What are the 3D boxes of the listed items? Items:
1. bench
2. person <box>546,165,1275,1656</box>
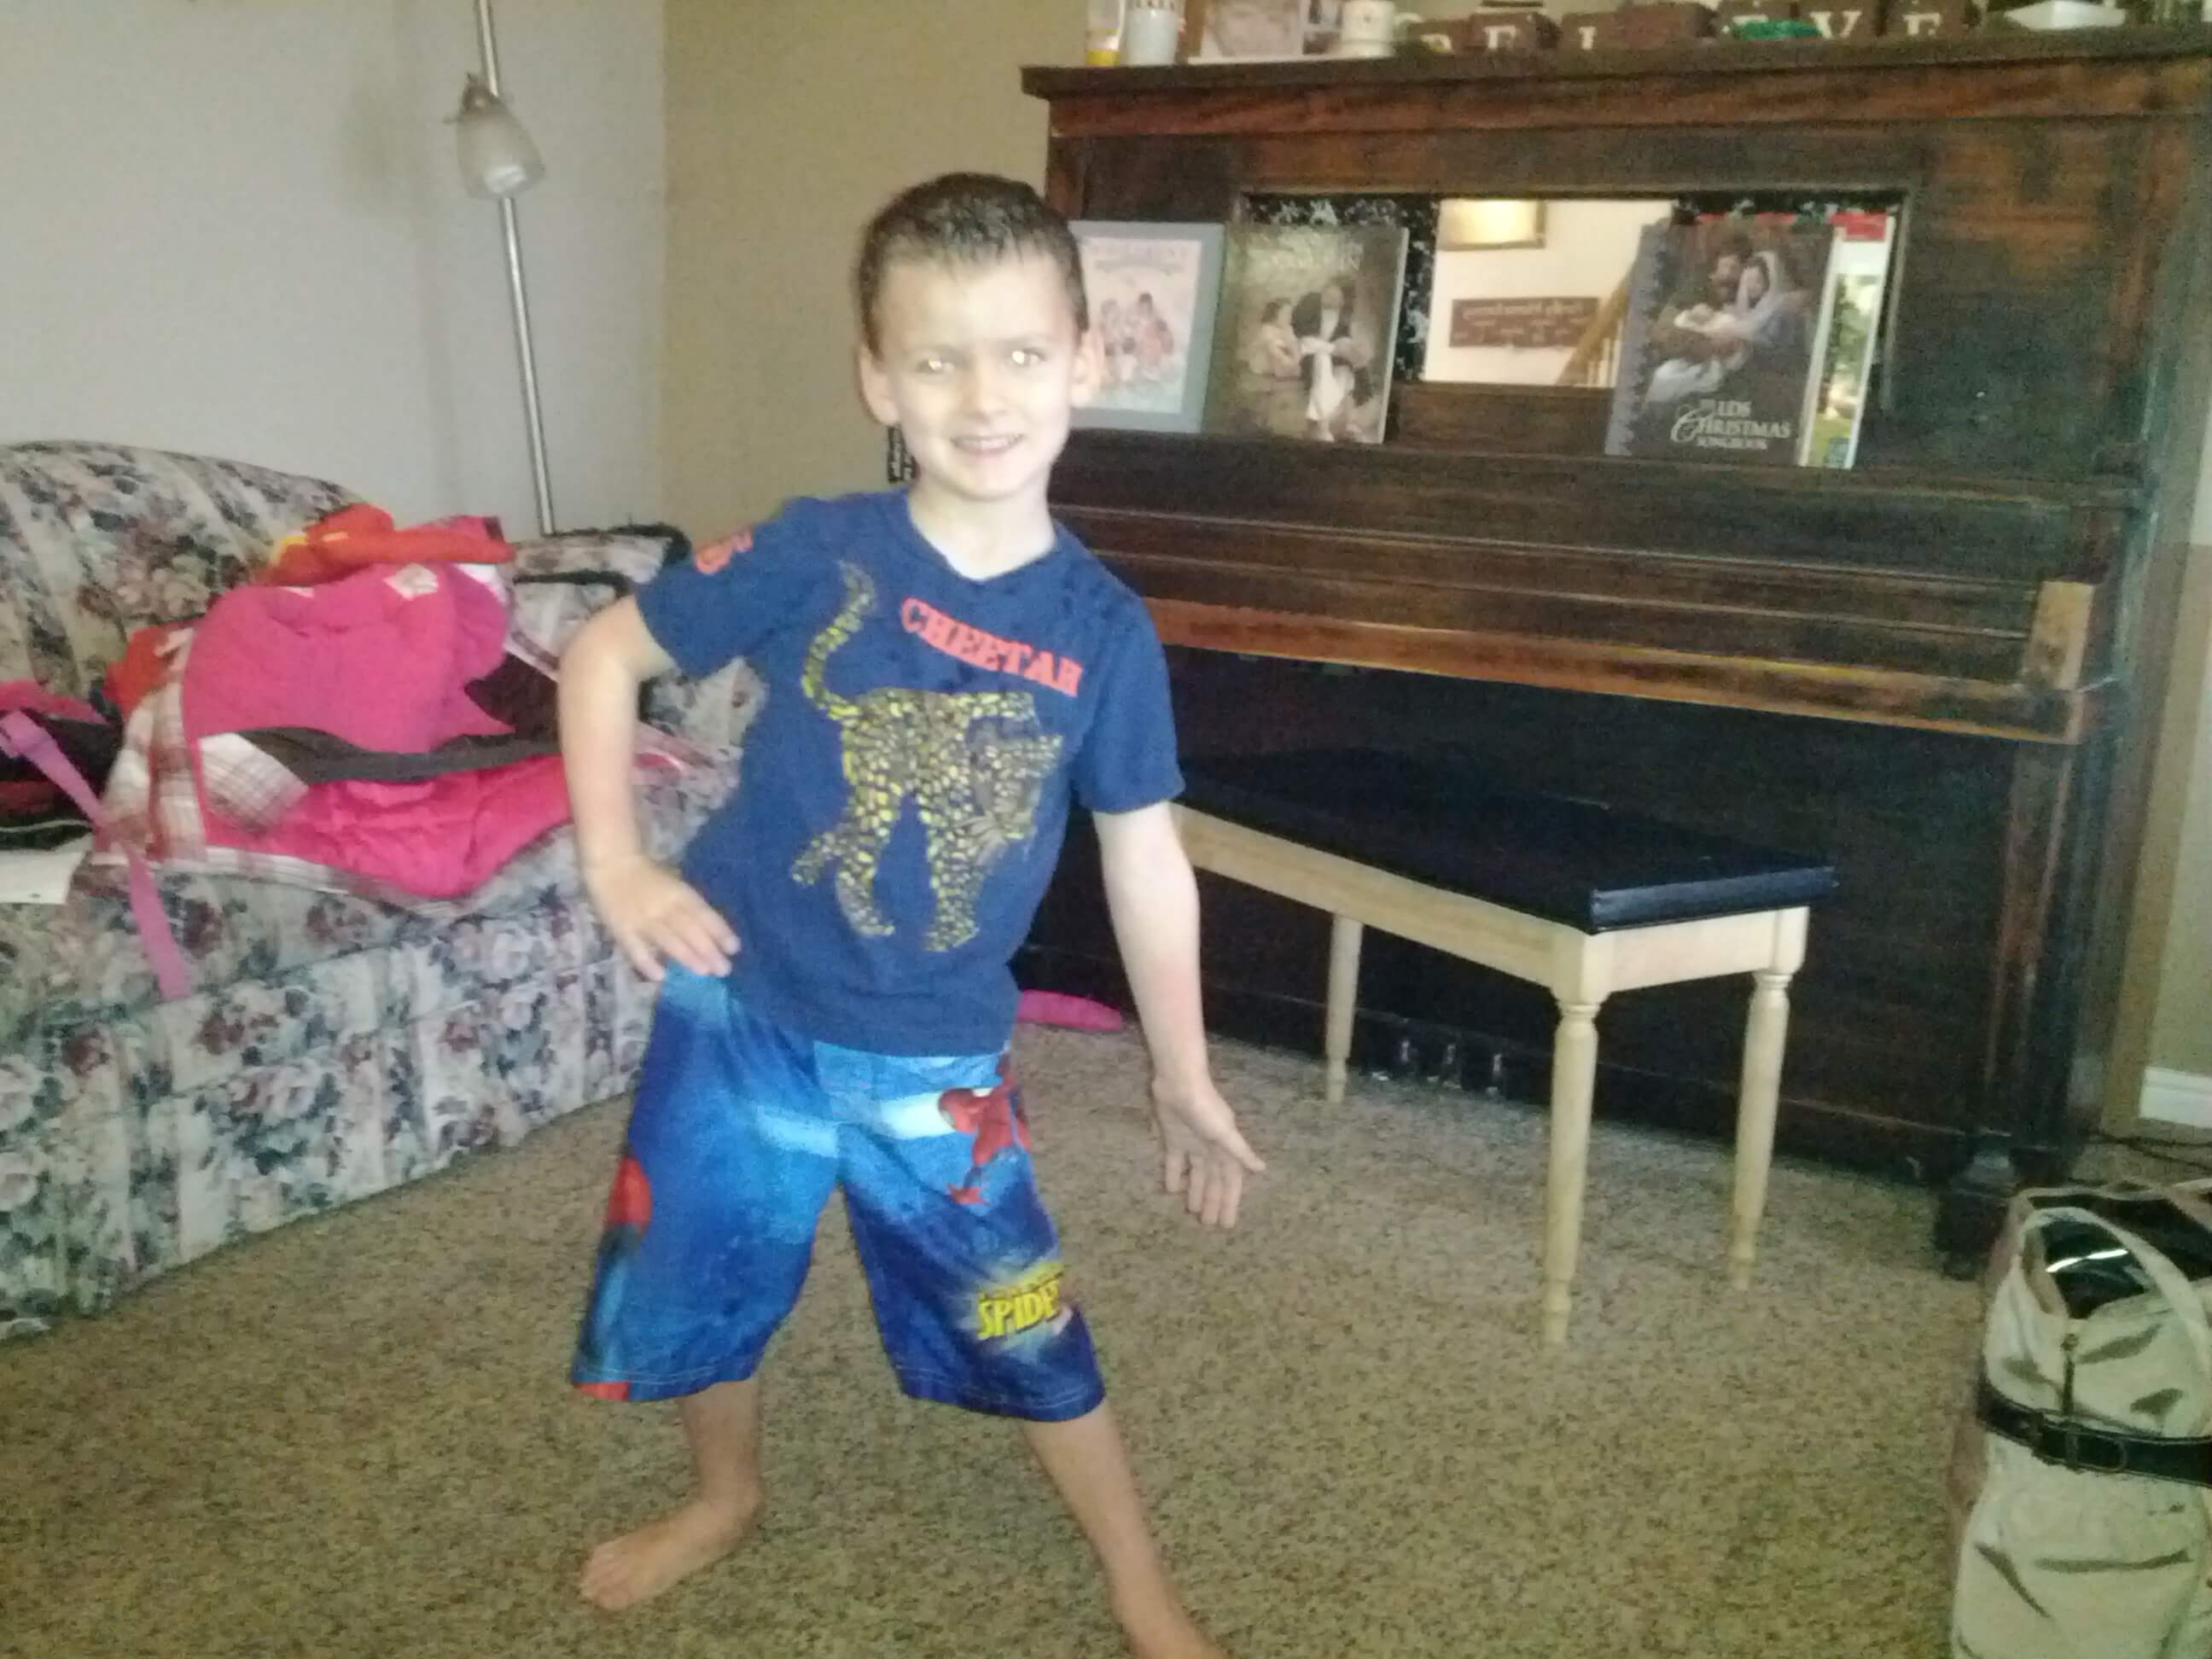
[{"bbox_3d":[0.491,0.260,2.488,0.496,0.561,0.877,-5,15,-37],"label":"bench"},{"bbox_3d":[-0.175,0.100,1.627,0.657,1.357,0.312,4,18,6],"label":"person"}]
